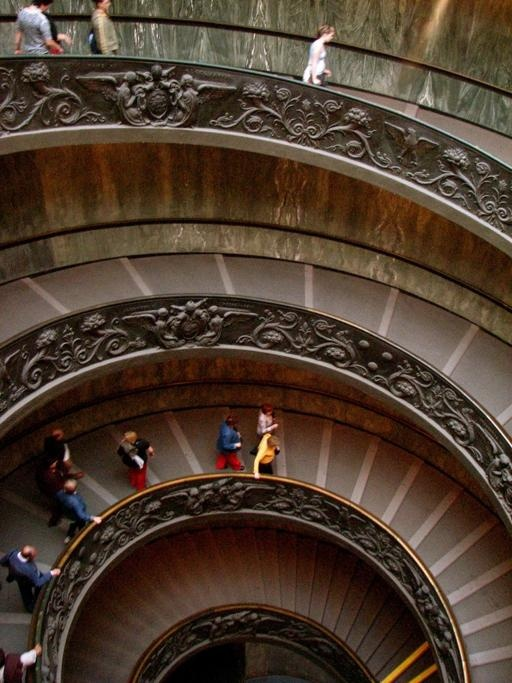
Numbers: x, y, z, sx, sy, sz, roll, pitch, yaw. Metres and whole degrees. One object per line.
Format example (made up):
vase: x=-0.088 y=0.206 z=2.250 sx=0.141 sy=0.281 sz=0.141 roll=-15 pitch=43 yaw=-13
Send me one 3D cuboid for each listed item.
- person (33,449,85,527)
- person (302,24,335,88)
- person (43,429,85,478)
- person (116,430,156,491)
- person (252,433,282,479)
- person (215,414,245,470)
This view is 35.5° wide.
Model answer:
person: x=-3.251 y=2.380 z=13.292 sx=0.536 sy=0.682 sz=1.857 roll=31 pitch=-38 yaw=19
person: x=1.033 y=-4.776 z=13.243 sx=0.519 sy=0.604 sz=1.569 roll=-13 pitch=-9 yaw=-2
person: x=-3.116 y=1.897 z=12.995 sx=0.479 sy=0.411 sz=0.986 roll=-2 pitch=-61 yaw=-1
person: x=-2.095 y=2.104 z=13.986 sx=0.541 sy=0.410 sz=1.456 roll=0 pitch=-46 yaw=-2
person: x=0.206 y=2.169 z=14.908 sx=0.239 sy=0.788 sz=0.795 roll=9 pitch=-9 yaw=2
person: x=-0.484 y=1.949 z=15.153 sx=0.343 sy=0.401 sz=0.973 roll=-20 pitch=-10 yaw=-11
